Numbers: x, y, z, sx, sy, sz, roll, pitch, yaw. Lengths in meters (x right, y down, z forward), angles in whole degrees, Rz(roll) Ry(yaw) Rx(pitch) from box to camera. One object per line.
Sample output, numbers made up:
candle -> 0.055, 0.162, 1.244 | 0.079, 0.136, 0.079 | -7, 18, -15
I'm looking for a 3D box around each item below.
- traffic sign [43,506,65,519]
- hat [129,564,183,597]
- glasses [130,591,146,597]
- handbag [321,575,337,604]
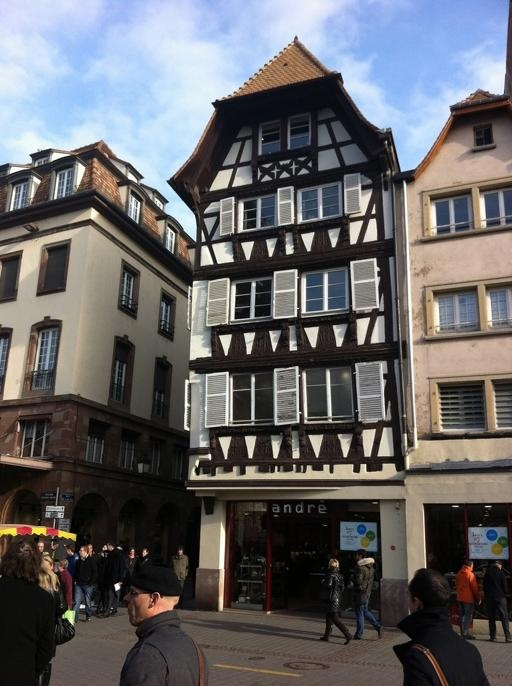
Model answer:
traffic sign -> -7.502, 6.342, 20.047 | 0.525, 0.376, 0.072 | -5, -20, 10
hat -> -0.386, 0.890, 2.034 | 0.171, 0.079, 0.123 | 6, -25, 24
glasses -> -0.440, 0.929, 1.994 | 0.041, 0.012, 0.041 | 13, -24, -17
handbag -> 1.574, 5.225, 11.362 | 0.429, 0.684, 0.282 | 3, -17, -8
